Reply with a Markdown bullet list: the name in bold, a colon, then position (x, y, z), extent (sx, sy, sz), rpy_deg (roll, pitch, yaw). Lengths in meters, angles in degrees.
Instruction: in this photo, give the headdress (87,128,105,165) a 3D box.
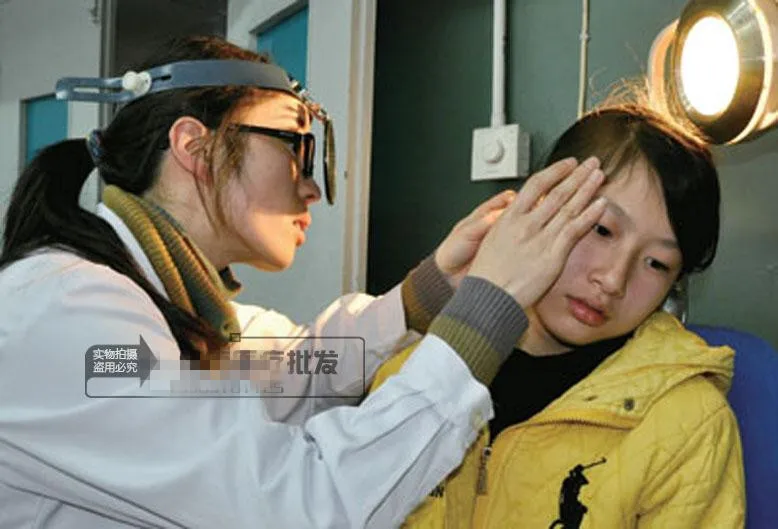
- **headdress**: position (-0.644, -0.260, 1.786), extent (0.021, 0.074, 0.051), rpy_deg (-5, -1, 5)
